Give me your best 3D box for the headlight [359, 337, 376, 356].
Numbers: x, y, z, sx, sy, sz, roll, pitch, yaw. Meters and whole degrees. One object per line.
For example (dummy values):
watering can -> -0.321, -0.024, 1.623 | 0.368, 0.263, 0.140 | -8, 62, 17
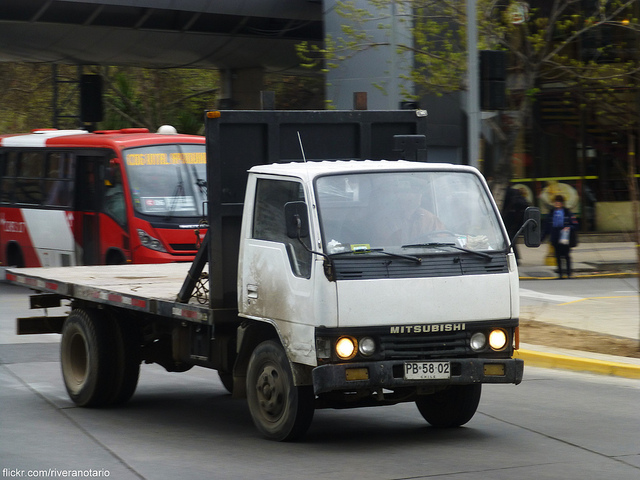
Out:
headlight -> 0.469, 1.040, 9.717 | 0.199, 0.166, 0.170 | 14, -2, -16

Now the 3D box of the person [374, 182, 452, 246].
person -> 0.937, -0.261, 10.063 | 0.812, 0.615, 0.390 | 0, 5, -8

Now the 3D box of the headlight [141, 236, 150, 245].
headlight -> -3.349, 0.020, 18.905 | 0.169, 0.154, 0.055 | 1, 5, 3

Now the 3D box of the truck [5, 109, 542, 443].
truck -> -0.770, 0.297, 12.067 | 3.005, 3.126, 6.394 | -1, -1, -35

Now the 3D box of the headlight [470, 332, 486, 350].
headlight -> 1.599, 1.021, 9.950 | 0.177, 0.168, 0.041 | -1, 5, -24

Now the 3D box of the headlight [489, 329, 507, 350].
headlight -> 1.817, 1.014, 10.020 | 0.217, 0.180, 0.046 | 4, -3, -29
